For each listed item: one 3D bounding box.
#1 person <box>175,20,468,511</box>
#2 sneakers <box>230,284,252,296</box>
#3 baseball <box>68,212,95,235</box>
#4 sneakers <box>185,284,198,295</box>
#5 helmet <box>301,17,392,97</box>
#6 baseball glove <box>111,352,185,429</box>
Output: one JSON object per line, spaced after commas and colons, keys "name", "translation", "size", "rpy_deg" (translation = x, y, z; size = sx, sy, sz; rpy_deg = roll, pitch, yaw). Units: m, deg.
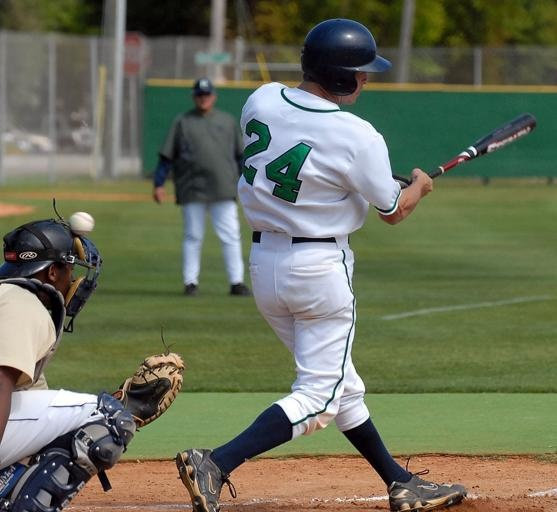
{"name": "person", "translation": [0.217, 0.084, 5.334], "size": [1.045, 2.244, 0.645], "rpy_deg": [9, 10, 3]}
{"name": "sneakers", "translation": [-0.313, 0.272, 9.333], "size": [0.072, 0.074, 0.190], "rpy_deg": [-1, -1, -39]}
{"name": "baseball", "translation": [-0.850, -0.136, 5.240], "size": [0.109, 0.096, 0.103], "rpy_deg": [21, -20, -22]}
{"name": "sneakers", "translation": [-0.707, 0.280, 9.573], "size": [0.075, 0.108, 0.117], "rpy_deg": [-1, -8, 4]}
{"name": "helmet", "translation": [0.258, -0.871, 5.322], "size": [0.419, 0.280, 0.281], "rpy_deg": [-1, 14, -6]}
{"name": "baseball glove", "translation": [-0.618, 0.641, 5.583], "size": [0.273, 0.375, 0.158], "rpy_deg": [42, 14, 28]}
